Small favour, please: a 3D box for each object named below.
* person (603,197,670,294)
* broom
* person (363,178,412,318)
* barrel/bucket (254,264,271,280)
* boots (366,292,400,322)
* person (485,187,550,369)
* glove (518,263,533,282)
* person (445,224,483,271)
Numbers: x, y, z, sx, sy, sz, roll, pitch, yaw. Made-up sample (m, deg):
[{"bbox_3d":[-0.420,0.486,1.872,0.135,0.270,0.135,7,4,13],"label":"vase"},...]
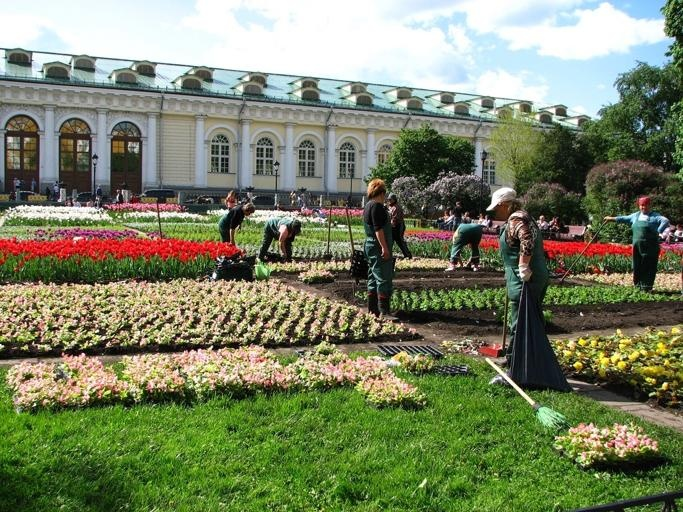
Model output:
[{"bbox_3d":[5.836,-0.210,14.478,0.806,1.952,1.346,7,11,21],"label":"person"},{"bbox_3d":[2.001,1.487,7.787,0.292,0.219,1.311,0,11,-14],"label":"broom"},{"bbox_3d":[0.657,-0.118,11.493,0.812,1.780,0.652,0,0,-26],"label":"person"},{"bbox_3d":[-1.500,0.284,14.171,0.320,0.369,0.308,1,-5,0],"label":"barrel/bucket"},{"bbox_3d":[0.625,0.798,11.380,0.559,0.563,0.314,0,2,3],"label":"boots"},{"bbox_3d":[2.074,0.288,8.769,0.717,2.177,0.723,-5,8,-29],"label":"person"},{"bbox_3d":[2.075,0.197,8.427,0.142,0.162,0.186,-3,5,6],"label":"glove"},{"bbox_3d":[2.941,-0.277,17.067,0.832,1.197,0.877,0,9,-12],"label":"person"}]
